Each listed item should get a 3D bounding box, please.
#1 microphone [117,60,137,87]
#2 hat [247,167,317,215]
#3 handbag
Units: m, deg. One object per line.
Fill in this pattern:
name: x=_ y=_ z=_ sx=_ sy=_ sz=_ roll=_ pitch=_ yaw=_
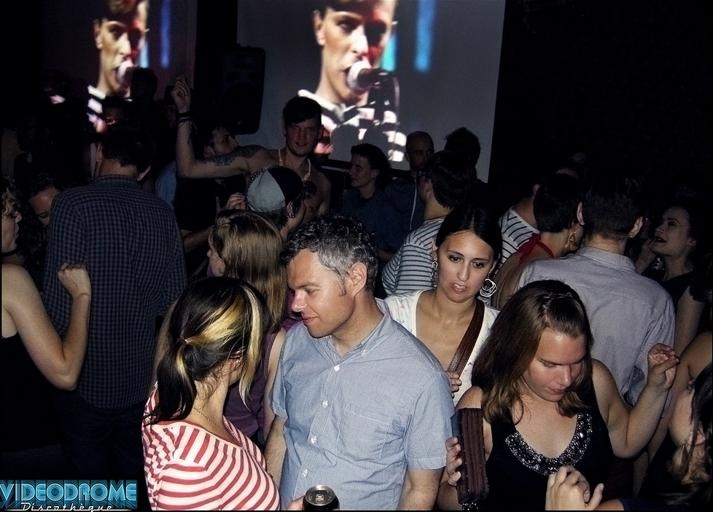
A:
microphone: x=-3.133 y=-2.488 z=7.711 sx=0.241 sy=0.328 sz=0.310 roll=-5 pitch=16 yaw=-28
hat: x=-0.566 y=-0.461 z=3.995 sx=0.273 sy=0.238 sz=0.414 roll=5 pitch=26 yaw=1
handbag: x=0.533 y=0.954 z=2.686 sx=0.142 sy=0.421 sz=0.206 roll=4 pitch=11 yaw=-9
